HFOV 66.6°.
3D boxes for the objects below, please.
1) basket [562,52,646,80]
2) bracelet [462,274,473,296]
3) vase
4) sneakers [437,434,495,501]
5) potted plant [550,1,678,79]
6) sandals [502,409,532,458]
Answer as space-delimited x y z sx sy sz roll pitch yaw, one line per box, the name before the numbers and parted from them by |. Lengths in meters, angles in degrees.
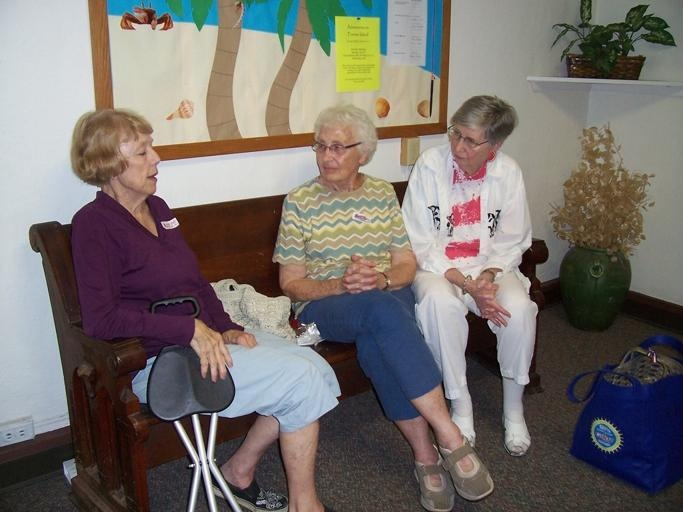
basket | 1.871 -1.329 3.710 0.369 0.156 0.281 4 20 17
bracelet | 0.657 0.150 2.707 0.052 0.091 0.091 4 57 14
vase | 1.755 0.170 3.867 0.469 0.671 0.608 8 4 5
sneakers | 0.549 0.944 2.314 0.143 0.112 0.328 -24 60 -9
potted plant | 1.884 -1.434 3.688 0.610 0.377 0.654 -2 11 -12
sandals | 0.888 0.893 2.612 0.092 0.085 0.221 -3 34 8
